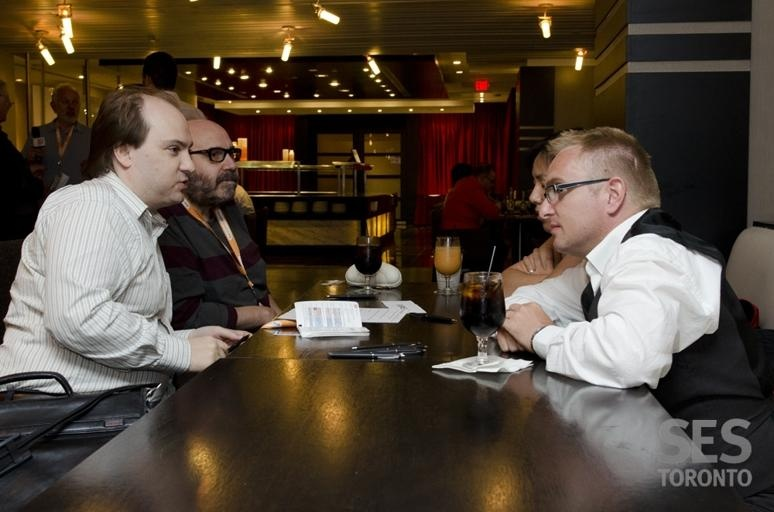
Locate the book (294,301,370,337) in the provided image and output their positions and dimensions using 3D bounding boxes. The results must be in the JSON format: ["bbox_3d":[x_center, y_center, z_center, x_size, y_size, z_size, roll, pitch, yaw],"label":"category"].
[{"bbox_3d":[-0.205,0.228,1.863,0.149,0.057,0.155,2,15,-13],"label":"book"}]

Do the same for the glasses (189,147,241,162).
[{"bbox_3d":[-0.834,-0.505,2.607,0.132,0.040,0.133,-1,3,28],"label":"glasses"}]
